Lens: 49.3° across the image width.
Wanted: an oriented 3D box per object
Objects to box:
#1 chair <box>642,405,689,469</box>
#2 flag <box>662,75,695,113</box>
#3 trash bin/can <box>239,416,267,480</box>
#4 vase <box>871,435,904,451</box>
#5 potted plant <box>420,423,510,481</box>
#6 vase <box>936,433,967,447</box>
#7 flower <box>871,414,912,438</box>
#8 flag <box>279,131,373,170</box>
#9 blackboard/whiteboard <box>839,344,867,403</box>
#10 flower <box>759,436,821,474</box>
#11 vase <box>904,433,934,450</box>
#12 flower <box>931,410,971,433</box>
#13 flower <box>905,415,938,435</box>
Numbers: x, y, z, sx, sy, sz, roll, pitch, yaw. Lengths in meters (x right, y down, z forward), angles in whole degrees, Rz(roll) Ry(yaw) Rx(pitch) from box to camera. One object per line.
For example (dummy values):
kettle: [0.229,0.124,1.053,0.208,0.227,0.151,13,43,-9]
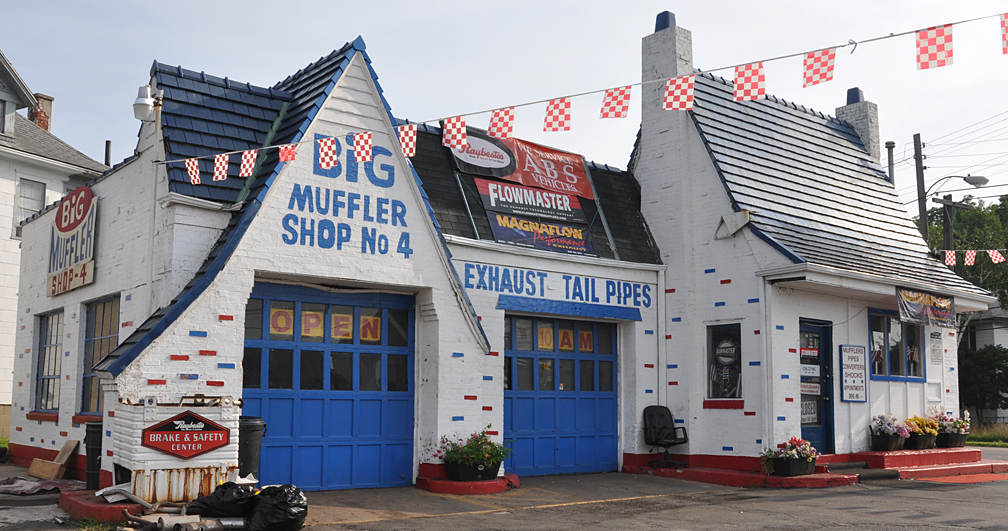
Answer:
chair: [4.844,5.117,33.065,1.350,1.762,0.655,2,4,7]
flag: [4.504,-4.462,28.285,0.772,0.844,0.319,1,5,-10]
trash bin/can: [-6.484,4.658,28.360,0.650,1.493,0.431,0,5,-25]
vase: [11.851,5.440,33.918,0.883,0.305,0.526,4,-9,-20]
potted plant: [-1.116,5.163,30.620,1.842,1.069,1.554,6,-11,-32]
vase: [14.408,5.603,35.306,0.822,0.240,0.484,7,-14,-24]
flower: [11.960,4.957,34.000,0.990,0.543,0.700,4,3,-3]
flag: [-4.658,-3.098,29.545,2.491,1.037,0.454,0,5,-18]
blackboard/whiteboard: [10.692,3.346,33.800,1.842,2.141,0.203,9,-15,-40]
flower: [8.492,5.761,32.364,1.232,0.646,1.688,-5,-9,35]
vase: [13.102,5.511,34.551,0.859,0.300,0.539,3,-5,-36]
flower: [14.396,5.053,35.432,1.018,0.496,0.992,4,-6,-2]
flower: [13.147,5.012,34.521,0.945,0.461,0.703,0,-3,28]
